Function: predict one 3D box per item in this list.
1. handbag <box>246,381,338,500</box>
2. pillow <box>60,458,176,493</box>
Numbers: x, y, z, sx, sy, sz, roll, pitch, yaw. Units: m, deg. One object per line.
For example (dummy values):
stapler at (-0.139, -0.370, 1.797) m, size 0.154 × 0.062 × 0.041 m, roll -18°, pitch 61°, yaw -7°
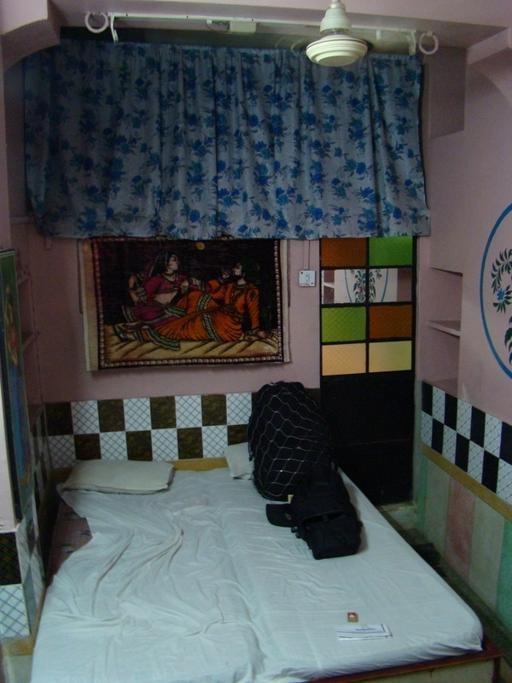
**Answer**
handbag at (0.161, 0.507, 2.767) m, size 0.239 × 0.308 × 0.439 m, roll 9°, pitch 41°, yaw -18°
pillow at (-0.700, 0.706, 2.866) m, size 0.354 × 0.062 × 0.227 m, roll 2°, pitch 13°, yaw -6°
